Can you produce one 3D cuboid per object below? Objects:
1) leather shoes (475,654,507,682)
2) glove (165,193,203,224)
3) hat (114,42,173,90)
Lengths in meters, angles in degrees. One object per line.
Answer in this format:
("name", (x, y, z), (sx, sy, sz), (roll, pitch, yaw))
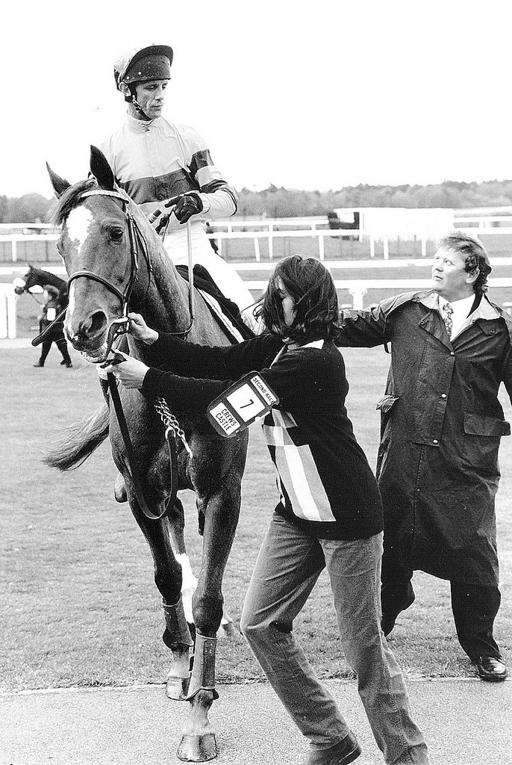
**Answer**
("leather shoes", (0.895, 1.085, 5.253), (0.133, 0.063, 0.135), (2, 9, 16))
("glove", (-0.282, -0.647, 5.260), (0.126, 0.121, 0.052), (-28, -40, 11))
("hat", (-0.434, -1.291, 5.592), (0.216, 0.100, 0.282), (-7, 14, -18))
